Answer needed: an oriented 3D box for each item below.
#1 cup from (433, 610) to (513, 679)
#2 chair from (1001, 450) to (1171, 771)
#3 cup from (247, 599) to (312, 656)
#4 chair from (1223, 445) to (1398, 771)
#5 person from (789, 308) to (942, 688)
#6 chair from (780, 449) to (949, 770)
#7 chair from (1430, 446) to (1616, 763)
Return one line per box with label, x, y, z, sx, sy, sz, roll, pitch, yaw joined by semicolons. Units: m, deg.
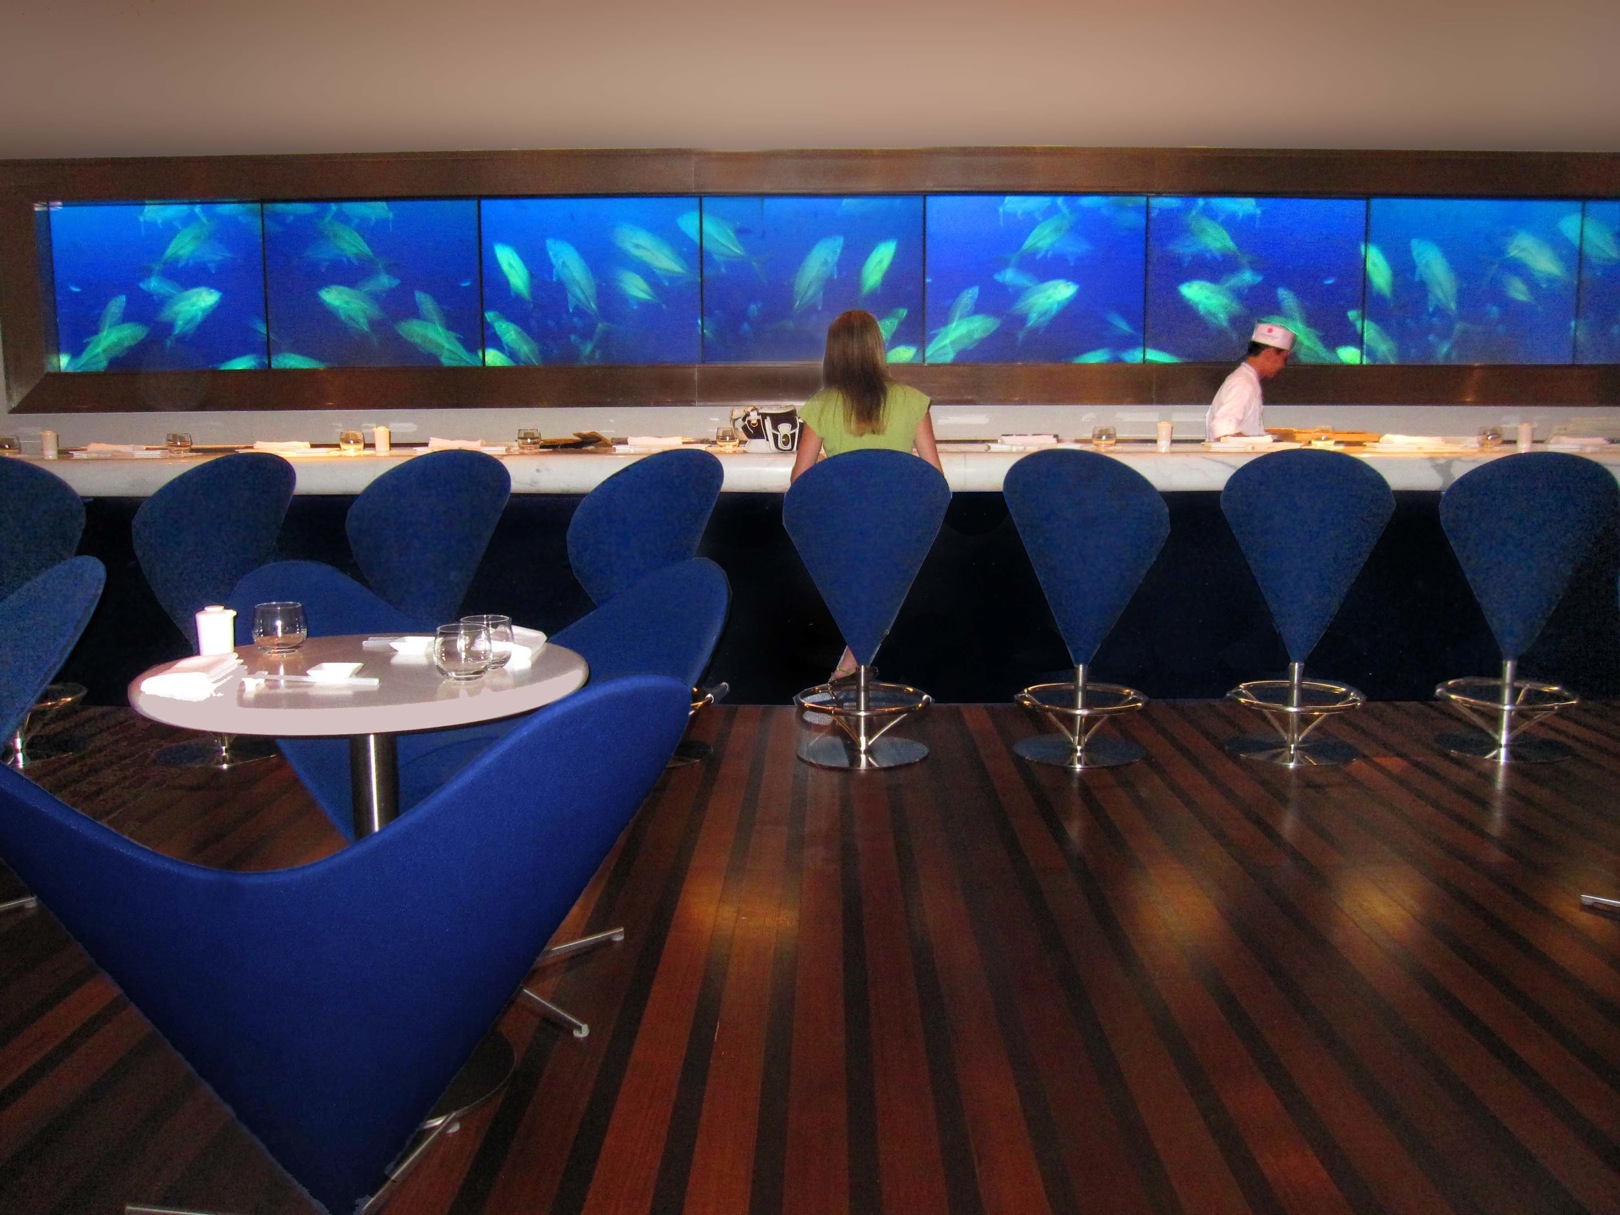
cup;-0.686;0.072;2.334;0.123;0.090;0.140;-1;-2;-4
chair;0.957;-0.021;4.025;0.514;1.062;0.590;3;14;22
cup;-1.102;0.038;2.466;0.116;0.104;0.112;0;10;0
chair;1.734;-0.030;4.116;0.526;1.067;0.699;4;14;24
person;0.235;-0.381;4.457;0.541;1.402;0.468;2;25;4
chair;0.185;-0.017;3.990;0.507;1.077;0.654;-3;13;-2
chair;2.505;-0.028;4.114;0.512;1.054;0.628;6;16;32
